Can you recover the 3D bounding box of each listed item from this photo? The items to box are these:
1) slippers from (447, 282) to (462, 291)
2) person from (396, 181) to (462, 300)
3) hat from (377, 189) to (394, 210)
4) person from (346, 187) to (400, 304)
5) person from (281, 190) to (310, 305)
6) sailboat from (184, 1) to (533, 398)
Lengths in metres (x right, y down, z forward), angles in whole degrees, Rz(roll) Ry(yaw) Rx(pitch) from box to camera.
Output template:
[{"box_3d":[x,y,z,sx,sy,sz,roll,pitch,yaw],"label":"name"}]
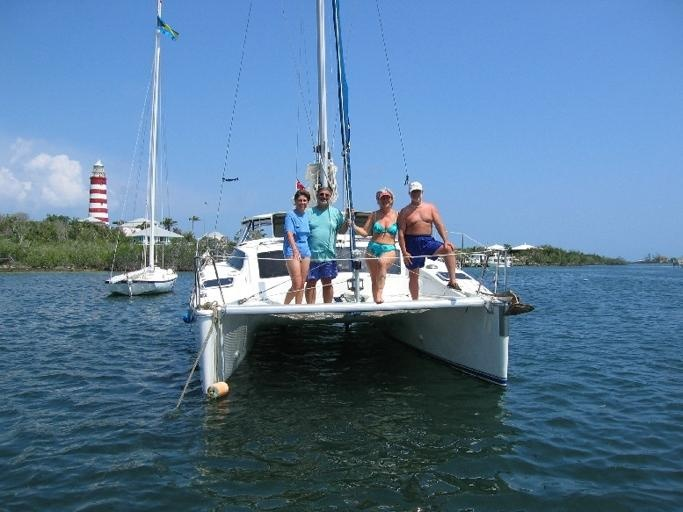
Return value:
[{"box_3d":[1.714,0.475,8.600,0.191,0.081,0.104,5,4,20],"label":"slippers"},{"box_3d":[1.218,-0.150,8.144,0.842,1.758,0.853,1,8,10],"label":"person"},{"box_3d":[0.613,-0.795,7.885,0.198,0.251,0.208,-1,8,-5],"label":"hat"},{"box_3d":[0.466,-0.139,7.964,0.572,1.573,0.776,3,8,19],"label":"person"},{"box_3d":[-0.652,-0.092,8.064,0.408,1.666,0.661,3,8,19],"label":"person"},{"box_3d":[-0.114,0.040,11.282,3.687,7.910,7.524,0,-4,-8],"label":"sailboat"}]
